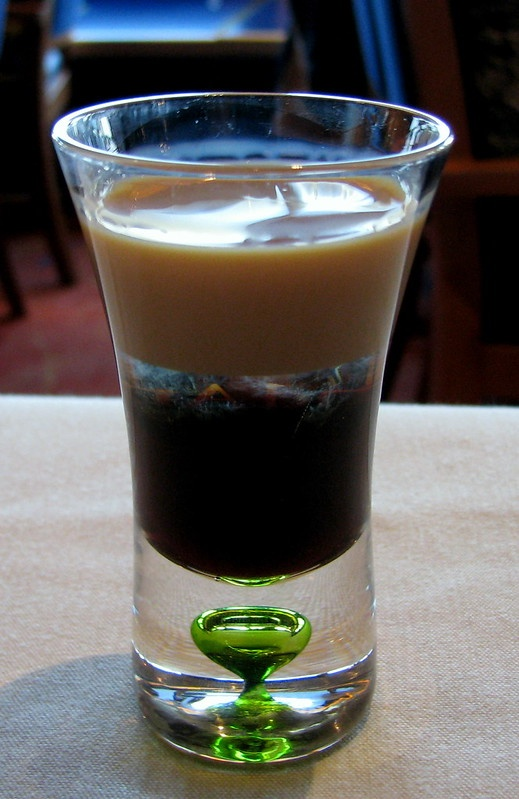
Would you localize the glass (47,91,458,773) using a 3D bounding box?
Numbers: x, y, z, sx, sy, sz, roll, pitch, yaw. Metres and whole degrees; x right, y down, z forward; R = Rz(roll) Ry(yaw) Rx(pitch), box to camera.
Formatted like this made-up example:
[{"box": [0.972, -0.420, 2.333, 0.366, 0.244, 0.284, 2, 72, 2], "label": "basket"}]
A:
[{"box": [-0.007, 0.027, 0.352, 0.178, 0.272, 0.172, -14, 18, -28], "label": "glass"}]

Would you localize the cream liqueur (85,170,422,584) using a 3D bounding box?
[{"box": [-0.008, -0.010, 0.294, 0.123, 0.179, 0.083, 5, 40, 9], "label": "cream liqueur"}]
